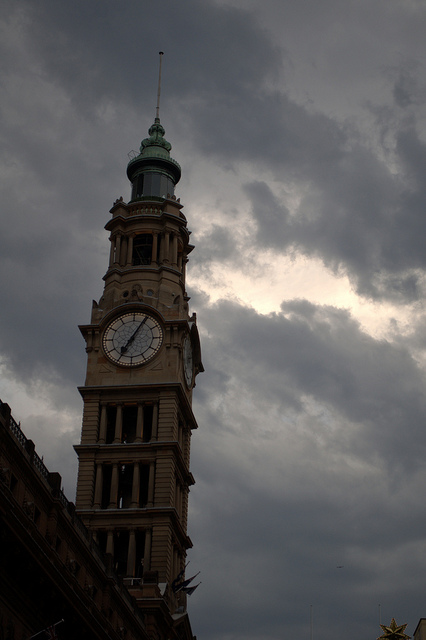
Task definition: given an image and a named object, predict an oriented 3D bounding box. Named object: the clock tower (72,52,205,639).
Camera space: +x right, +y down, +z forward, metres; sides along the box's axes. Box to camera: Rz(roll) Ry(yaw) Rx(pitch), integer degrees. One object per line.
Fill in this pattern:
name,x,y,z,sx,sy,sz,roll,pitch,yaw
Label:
clock tower,-5.438,1.594,96.284,9.518,49.647,12.250,10,-31,-12
